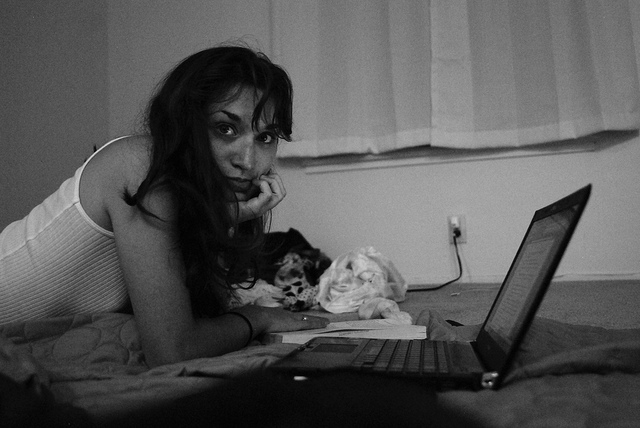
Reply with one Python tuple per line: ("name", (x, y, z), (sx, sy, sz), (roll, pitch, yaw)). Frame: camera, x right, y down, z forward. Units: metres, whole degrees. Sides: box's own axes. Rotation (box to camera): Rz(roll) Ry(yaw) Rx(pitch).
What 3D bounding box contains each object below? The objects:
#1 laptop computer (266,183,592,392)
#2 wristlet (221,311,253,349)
("laptop computer", (0.229, 0.201, 1.147), (0.475, 0.322, 0.495), (2, -2, 14))
("wristlet", (-0.215, 0.297, 1.383), (0.073, 0.080, 0.055), (-2, -19, -14))
